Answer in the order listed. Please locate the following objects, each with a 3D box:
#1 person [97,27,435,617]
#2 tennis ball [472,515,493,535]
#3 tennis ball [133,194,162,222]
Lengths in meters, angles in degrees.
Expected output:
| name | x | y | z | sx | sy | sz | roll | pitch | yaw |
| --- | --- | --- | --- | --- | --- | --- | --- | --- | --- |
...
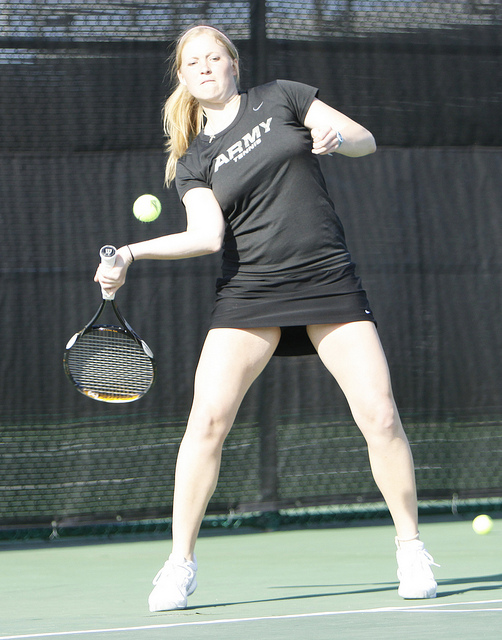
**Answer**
| name | x | y | z | sx | sy | sz | roll | pitch | yaw |
| --- | --- | --- | --- | --- | --- | --- | --- | --- | --- |
| person | 0.029 | -0.038 | 1.903 | 0.770 | 1.498 | 0.324 | -2 | -10 | 5 |
| tennis ball | 0.804 | 0.726 | 2.667 | 0.059 | 0.073 | 0.109 | -3 | -9 | 12 |
| tennis ball | -0.354 | -0.373 | 2.586 | 0.116 | 0.088 | 0.056 | 5 | -7 | 10 |
